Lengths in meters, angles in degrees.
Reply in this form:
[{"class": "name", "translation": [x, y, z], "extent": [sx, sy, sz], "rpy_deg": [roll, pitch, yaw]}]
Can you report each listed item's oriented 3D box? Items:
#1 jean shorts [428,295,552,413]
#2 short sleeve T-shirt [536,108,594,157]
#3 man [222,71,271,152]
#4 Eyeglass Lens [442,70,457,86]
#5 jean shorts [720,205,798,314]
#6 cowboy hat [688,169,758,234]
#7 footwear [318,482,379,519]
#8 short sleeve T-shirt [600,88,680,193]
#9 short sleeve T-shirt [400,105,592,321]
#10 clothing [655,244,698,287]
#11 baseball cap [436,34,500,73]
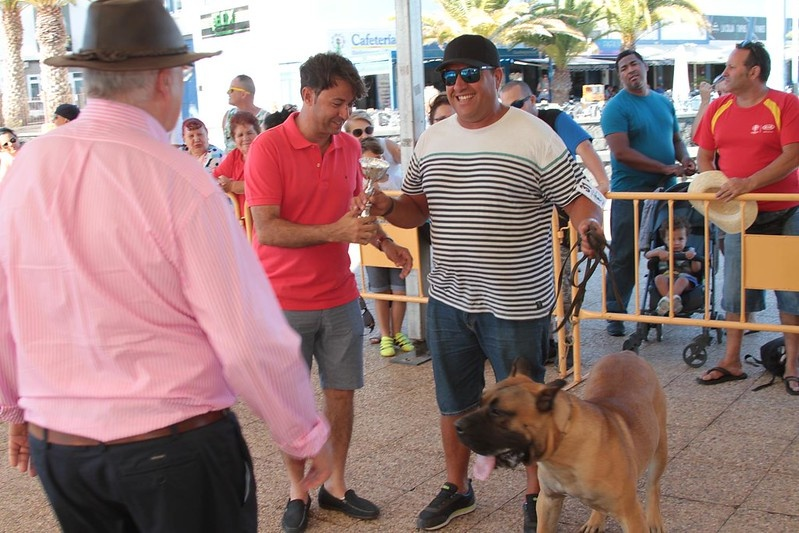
[{"class": "jean shorts", "translation": [0.499, 0.476, 3.689], "extent": [0.715, 0.614, 0.403], "rpy_deg": [6, 9, 32]}, {"class": "short sleeve T-shirt", "translation": [1.740, -1.338, 6.683], "extent": [0.742, 0.529, 0.229], "rpy_deg": [-7, -8, -45]}, {"class": "man", "translation": [-2.337, -2.134, 9.535], "extent": [0.704, 1.134, 0.969], "rpy_deg": [-10, 21, -43]}, {"class": "Eyeglass Lens", "translation": [0.278, -1.055, 3.676], "extent": [0.084, 0.088, 0.039], "rpy_deg": [-2, 28, 26]}, {"class": "jean shorts", "translation": [2.941, -0.040, 5.371], "extent": [0.547, 0.895, 0.400], "rpy_deg": [1, 11, 24]}, {"class": "cowboy hat", "translation": [2.672, -0.583, 5.437], "extent": [0.150, 0.538, 0.519], "rpy_deg": [-40, -1, -45]}, {"class": "footwear", "translation": [-0.318, 1.495, 4.162], "extent": [0.400, 0.139, 0.162], "rpy_deg": [6, 2, 15]}, {"class": "short sleeve T-shirt", "translation": [2.626, -1.382, 7.159], "extent": [1.029, 1.063, 0.624], "rpy_deg": [-11, 16, -23]}, {"class": "short sleeve T-shirt", "translation": [0.541, -0.334, 3.927], "extent": [1.523, 1.177, 0.609], "rpy_deg": [10, 17, 44]}, {"class": "clothing", "translation": [2.698, -0.006, 6.406], "extent": [0.343, 0.416, 0.156], "rpy_deg": [10, -27, 13]}, {"class": "baseball cap", "translation": [0.397, -1.235, 3.796], "extent": [0.333, 0.192, 0.432], "rpy_deg": [5, 14, 22]}]
